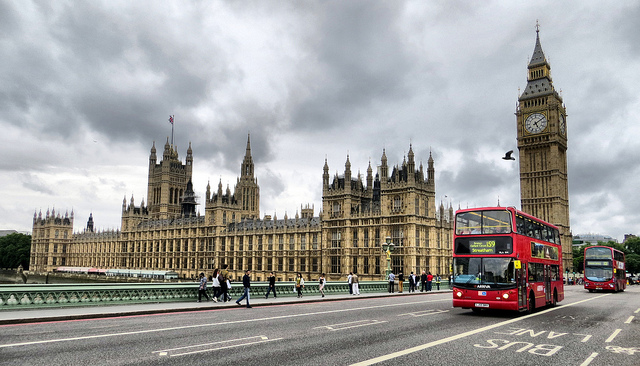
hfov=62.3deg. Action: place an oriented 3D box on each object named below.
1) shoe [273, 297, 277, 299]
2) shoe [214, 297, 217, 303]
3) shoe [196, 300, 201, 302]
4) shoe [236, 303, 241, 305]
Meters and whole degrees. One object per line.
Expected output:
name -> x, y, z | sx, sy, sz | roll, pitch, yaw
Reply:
shoe -> -4.078, 10.197, 47.172 | 0.223, 0.129, 0.207 | 0, -11, -2
shoe -> -8.545, 9.457, 43.119 | 0.191, 0.410, 0.395 | 9, -18, -30
shoe -> -9.981, 9.615, 43.243 | 0.173, 0.163, 0.429 | 4, -17, -21
shoe -> -6.595, 9.552, 42.082 | 0.263, 0.070, 0.261 | -3, -16, 37
